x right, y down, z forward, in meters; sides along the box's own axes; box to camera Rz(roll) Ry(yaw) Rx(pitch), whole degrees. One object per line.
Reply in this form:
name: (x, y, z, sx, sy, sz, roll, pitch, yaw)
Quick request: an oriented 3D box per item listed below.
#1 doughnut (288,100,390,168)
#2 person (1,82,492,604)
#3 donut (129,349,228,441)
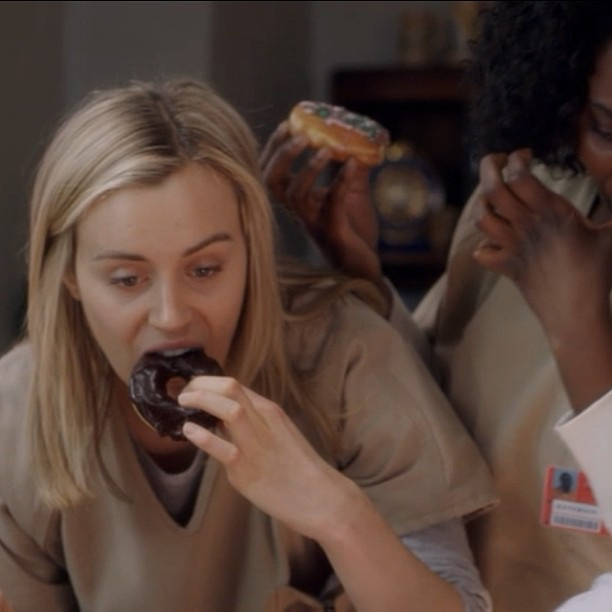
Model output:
doughnut: (0.087, -0.336, 1.637, 0.224, 0.085, 0.134, 26, 42, 28)
person: (-0.112, 0.034, 1.605, 0.730, 0.888, 0.586, -27, 11, -1)
donut: (-0.237, 0.157, 1.521, 0.189, 0.162, 0.064, -13, -1, -22)
